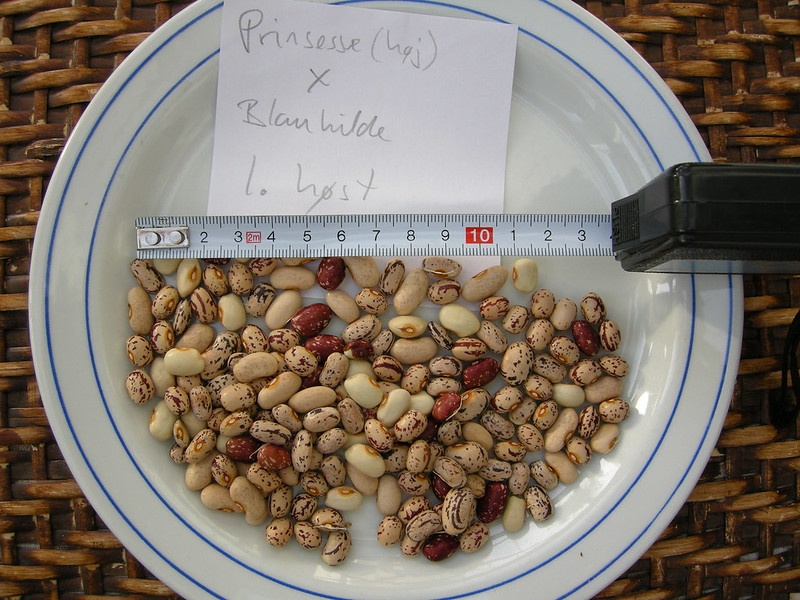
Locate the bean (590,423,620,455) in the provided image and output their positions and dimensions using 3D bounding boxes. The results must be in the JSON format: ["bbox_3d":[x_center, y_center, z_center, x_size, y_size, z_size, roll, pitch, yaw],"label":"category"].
[{"bbox_3d":[0.419,0.282,1.450,0.045,0.064,0.029,40,1,13],"label":"bean"}]

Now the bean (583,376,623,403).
[{"bbox_3d":[0.421,0.181,1.456,0.074,0.045,0.040,-22,20,5],"label":"bean"}]

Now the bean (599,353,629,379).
[{"bbox_3d":[0.436,0.132,1.445,0.050,0.029,0.041,27,26,-4],"label":"bean"}]

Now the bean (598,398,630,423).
[{"bbox_3d":[0.433,0.224,1.447,0.052,0.045,0.043,-1,-12,-10],"label":"bean"}]

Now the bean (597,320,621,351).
[{"bbox_3d":[0.426,0.067,1.453,0.042,0.061,0.032,-11,3,-25],"label":"bean"}]
